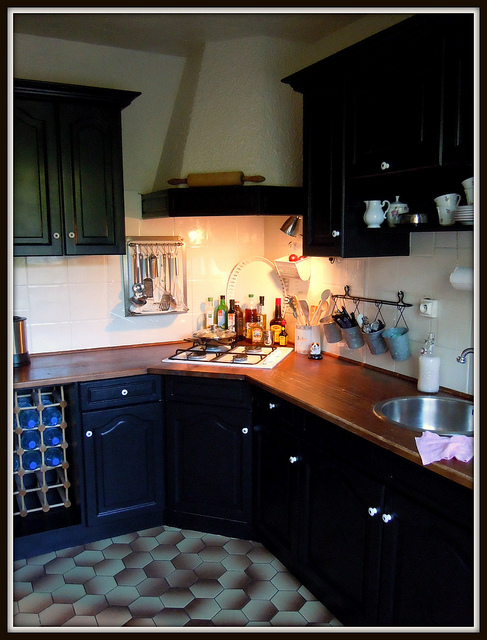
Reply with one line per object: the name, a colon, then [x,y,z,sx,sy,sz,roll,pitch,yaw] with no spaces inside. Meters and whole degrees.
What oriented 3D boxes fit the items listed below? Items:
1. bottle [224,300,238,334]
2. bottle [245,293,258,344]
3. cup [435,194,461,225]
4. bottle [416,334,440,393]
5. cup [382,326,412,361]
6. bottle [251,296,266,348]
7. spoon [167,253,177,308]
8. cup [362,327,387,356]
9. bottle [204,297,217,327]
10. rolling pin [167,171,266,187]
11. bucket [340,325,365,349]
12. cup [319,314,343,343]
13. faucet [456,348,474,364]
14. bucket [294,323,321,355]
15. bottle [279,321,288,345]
bottle: [-0.079,-0.021,3.097,0.077,0.196,0.072,-1,6,0]
bottle: [0.053,0.014,3.191,0.101,0.370,0.105,0,1,0]
cup: [0.721,-0.391,1.785,0.119,0.130,0.088,8,13,41]
bottle: [0.764,0.176,1.998,0.102,0.237,0.086,-3,6,-16]
cup: [0.690,0.109,2.201,0.110,0.154,0.148,-2,6,-11]
bottle: [0.095,0.002,3.078,0.092,0.295,0.300,-1,6,3]
spoon: [-0.444,-0.244,3.049,0.052,0.339,0.018,-5,7,-32]
cup: [0.616,0.104,2.328,0.106,0.116,0.108,-15,13,4]
bottle: [-0.213,-0.042,3.162,0.072,0.188,0.123,-2,6,-10]
rolling pin: [-0.156,-0.727,2.528,0.535,0.088,0.107,1,6,17]
bucket: [0.553,0.087,2.465,0.107,0.117,0.107,-19,17,6]
cup: [0.460,0.053,2.581,0.076,0.148,0.128,-5,7,-36]
faucet: [0.827,0.135,1.816,0.096,0.056,0.038,-15,16,-32]
bucket: [0.354,0.102,2.797,0.153,0.173,0.139,-5,11,-30]
bottle: [0.249,0.082,3.037,0.044,0.139,0.065,3,7,32]
